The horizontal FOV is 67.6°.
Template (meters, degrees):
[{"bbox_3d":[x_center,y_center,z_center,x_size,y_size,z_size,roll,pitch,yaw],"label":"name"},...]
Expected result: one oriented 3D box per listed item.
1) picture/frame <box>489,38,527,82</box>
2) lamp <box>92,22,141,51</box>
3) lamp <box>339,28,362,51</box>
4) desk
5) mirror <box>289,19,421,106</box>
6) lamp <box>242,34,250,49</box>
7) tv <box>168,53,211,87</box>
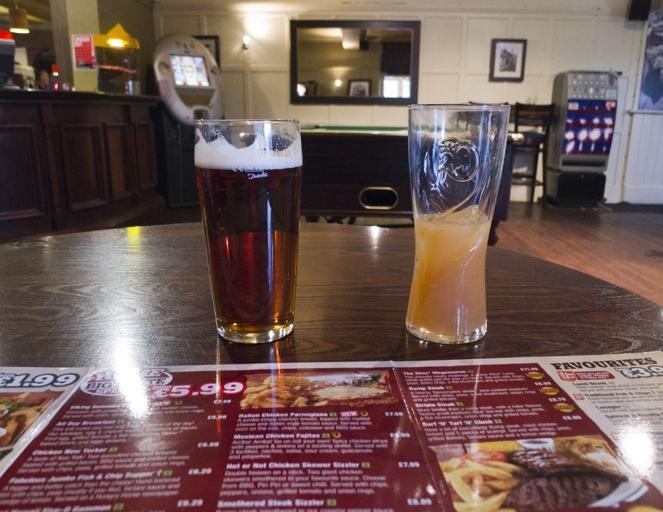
[{"bbox_3d":[2.017,-2.266,5.666,0.563,0.493,0.060,1,9,-3],"label":"picture/frame"},{"bbox_3d":[-2.027,-2.059,4.669,0.272,0.228,0.469,-1,18,-2],"label":"lamp"},{"bbox_3d":[0.220,-2.509,5.748,0.233,0.188,0.215,-15,33,-21],"label":"lamp"},{"bbox_3d":[0.298,-0.292,2.697,1.249,0.466,0.598,2,-8,11],"label":"desk"},{"bbox_3d":[0.228,-2.241,5.844,1.838,0.968,0.061,15,30,32],"label":"mirror"},{"bbox_3d":[-0.987,-2.475,5.736,0.101,0.137,0.071,-1,21,-3],"label":"lamp"},{"bbox_3d":[-1.339,-1.782,4.751,0.453,0.303,0.040,12,26,20],"label":"tv"}]
